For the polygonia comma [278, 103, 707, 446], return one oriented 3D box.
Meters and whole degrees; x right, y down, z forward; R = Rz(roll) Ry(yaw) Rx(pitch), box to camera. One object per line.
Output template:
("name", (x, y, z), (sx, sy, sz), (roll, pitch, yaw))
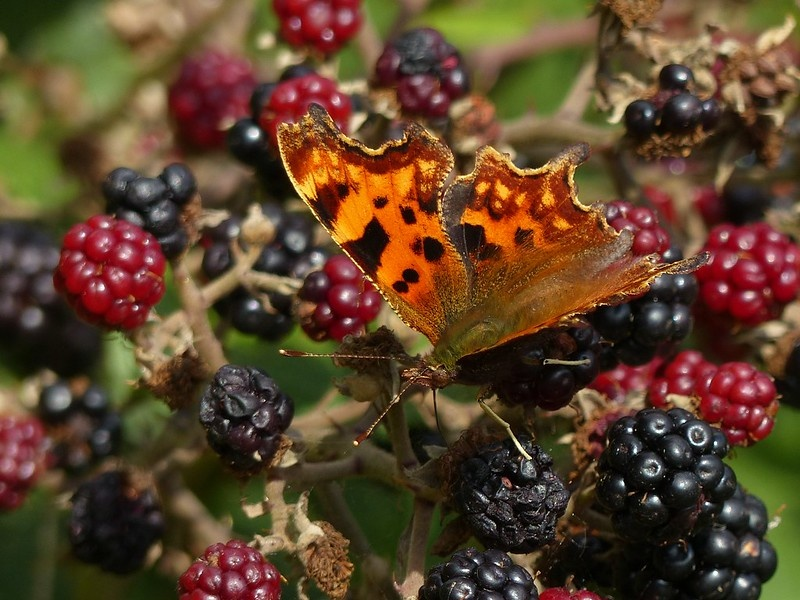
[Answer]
("polygonia comma", (0.150, -0.173, 1.871), (0.563, 0.304, 0.627), (-30, 80, 1))
